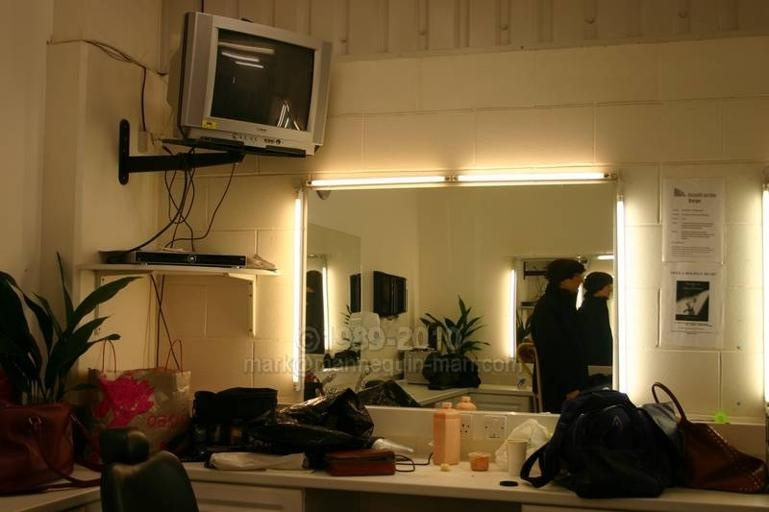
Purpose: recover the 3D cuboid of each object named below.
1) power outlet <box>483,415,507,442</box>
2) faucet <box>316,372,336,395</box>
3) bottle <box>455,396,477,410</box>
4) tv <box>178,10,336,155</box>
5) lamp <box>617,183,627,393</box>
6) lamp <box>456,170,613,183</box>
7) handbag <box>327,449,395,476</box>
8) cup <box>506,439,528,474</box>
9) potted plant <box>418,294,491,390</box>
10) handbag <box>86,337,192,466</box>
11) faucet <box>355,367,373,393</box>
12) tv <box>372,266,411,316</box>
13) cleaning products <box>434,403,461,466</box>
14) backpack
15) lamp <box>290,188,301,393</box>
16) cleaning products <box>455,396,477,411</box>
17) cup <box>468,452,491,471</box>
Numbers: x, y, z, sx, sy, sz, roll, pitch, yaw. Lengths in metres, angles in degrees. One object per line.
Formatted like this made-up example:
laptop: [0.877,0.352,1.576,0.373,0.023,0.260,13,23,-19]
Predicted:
power outlet: [0.565,0.880,3.935,0.163,0.166,0.097,1,-3,6]
faucet: [-0.327,0.675,4.061,0.110,0.114,0.045,-29,-13,7]
bottle: [0.424,0.763,3.965,0.078,0.053,0.075,1,-13,0]
tv: [-0.679,-0.917,4.119,0.726,0.655,0.389,5,14,-18]
lamp: [1.220,0.165,3.936,0.081,1.036,0.031,2,-3,-30]
lamp: [0.778,-0.414,4.033,0.793,0.065,0.036,0,-2,8]
handbag: [-0.122,0.998,3.733,0.335,0.113,0.140,1,-2,-5]
cup: [0.640,0.975,3.723,0.133,0.162,0.141,-1,-10,0]
potted plant: [0.388,0.480,4.197,0.456,0.493,0.410,1,-9,2]
handbag: [-1.260,0.726,3.972,0.479,0.641,0.228,9,-22,-40]
faucet: [-0.116,0.655,4.091,0.109,0.114,0.031,-22,-9,4]
tv: [0.042,0.213,4.197,0.095,0.249,0.256,-2,-4,30]
cleaning products: [0.314,0.899,3.888,0.131,0.301,0.093,1,-2,-1]
backpack: [1.036,0.893,3.767,0.811,0.405,0.612,-3,-2,-4]
lamp: [-0.471,0.178,4.174,0.081,1.077,0.029,-1,-3,28]
cleaning products: [0.423,0.763,3.966,0.074,0.051,0.077,0,-11,1]
cup: [0.476,1.014,3.790,0.078,0.053,0.081,0,-13,0]
